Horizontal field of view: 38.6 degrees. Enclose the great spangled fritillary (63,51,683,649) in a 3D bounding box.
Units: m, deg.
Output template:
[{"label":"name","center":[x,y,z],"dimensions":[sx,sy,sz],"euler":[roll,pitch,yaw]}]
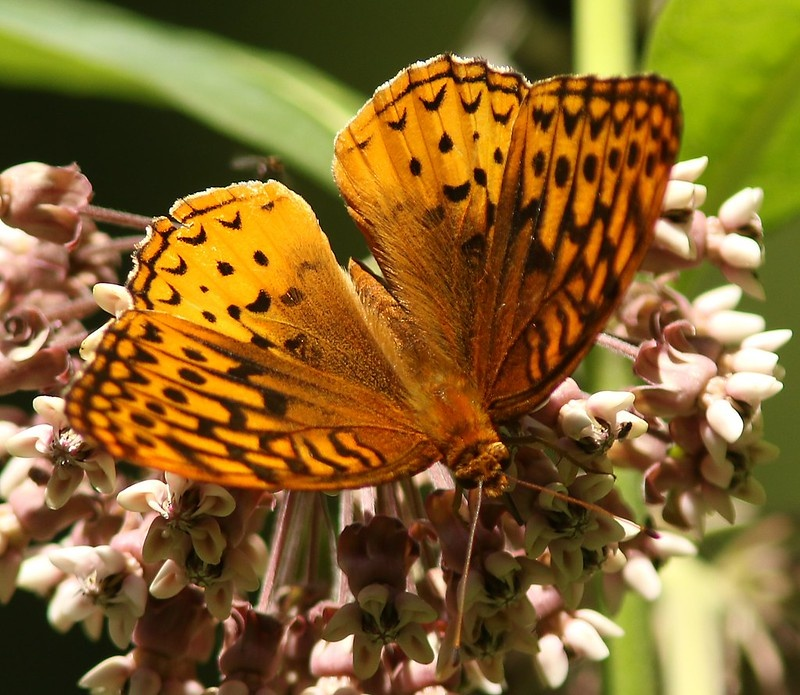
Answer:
[{"label":"great spangled fritillary","center":[-0.034,-0.051,1.199],"dimensions":[0.413,0.316,0.624],"euler":[37,66,26]}]
